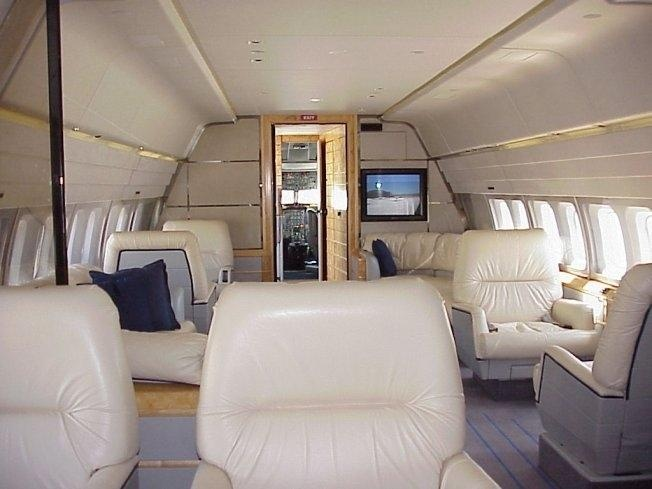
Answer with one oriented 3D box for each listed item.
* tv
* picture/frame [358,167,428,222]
[{"bbox_3d":[1.107,-0.831,7.356,0.932,0.670,0.097,0,-1,0],"label":"tv"},{"bbox_3d":[1.070,-0.833,7.355,0.940,0.653,0.093,0,-2,0],"label":"picture/frame"}]
